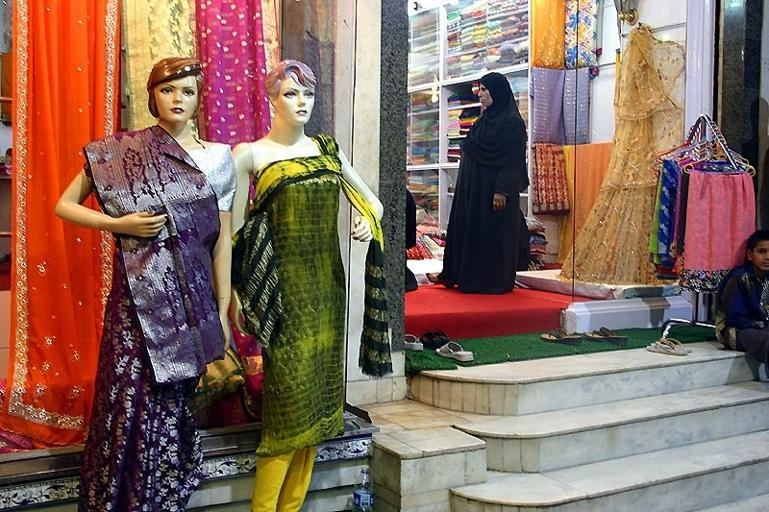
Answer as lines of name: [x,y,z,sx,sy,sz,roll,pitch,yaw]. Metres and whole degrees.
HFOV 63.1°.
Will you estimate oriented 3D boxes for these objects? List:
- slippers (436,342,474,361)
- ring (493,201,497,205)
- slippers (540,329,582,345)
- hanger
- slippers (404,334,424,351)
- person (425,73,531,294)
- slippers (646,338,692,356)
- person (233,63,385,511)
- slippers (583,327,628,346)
slippers: [0.442,0.579,3.798,0.088,0.074,0.224,-1,5,-32]
ring: [0.867,-0.410,4.888,0.011,0.032,0.033,-4,6,-34]
slippers: [1.166,0.536,4.129,0.204,0.065,0.115,5,1,16]
hanger: [2.253,-0.752,4.420,0.501,0.228,0.516,8,1,36]
slippers: [0.180,0.528,3.858,0.065,0.057,0.144,-2,11,-21]
person: [0.781,-0.580,4.942,0.688,1.683,0.532,0,11,14]
slippers: [1.869,0.603,4.131,0.123,0.058,0.174,0,0,-17]
person: [-0.309,0.137,2.683,0.656,1.891,0.413,-5,11,-13]
slippers: [1.512,0.518,4.249,0.236,0.084,0.138,4,4,24]
